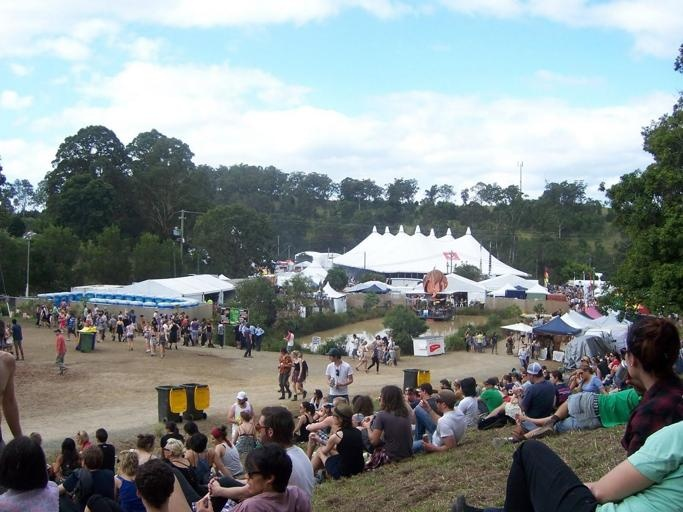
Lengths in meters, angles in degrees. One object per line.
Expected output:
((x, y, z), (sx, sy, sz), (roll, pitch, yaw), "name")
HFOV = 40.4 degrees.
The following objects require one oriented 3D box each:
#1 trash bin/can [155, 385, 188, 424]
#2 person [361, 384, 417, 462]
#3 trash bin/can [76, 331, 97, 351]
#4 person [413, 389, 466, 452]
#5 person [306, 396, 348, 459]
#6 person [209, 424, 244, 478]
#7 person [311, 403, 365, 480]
((-5.138, 4.358, 27.462), (0.977, 1.302, 0.832), (-1, -3, 37), "trash bin/can")
((1.125, 3.976, 21.624), (1.022, 1.843, 0.419), (-2, -2, -1), "person")
((-10.746, 3.527, 39.176), (0.735, 0.887, 0.875), (-2, -4, 44), "trash bin/can")
((2.325, 4.144, 22.478), (1.069, 1.628, 1.072), (-2, 1, 34), "person")
((-0.322, 4.056, 21.730), (0.877, 1.550, 0.906), (-4, 4, -44), "person")
((-2.591, 4.453, 21.019), (0.675, 1.160, 0.678), (0, -2, -16), "person")
((-0.057, 4.227, 21.010), (1.059, 1.679, 0.529), (-2, -2, -3), "person")
